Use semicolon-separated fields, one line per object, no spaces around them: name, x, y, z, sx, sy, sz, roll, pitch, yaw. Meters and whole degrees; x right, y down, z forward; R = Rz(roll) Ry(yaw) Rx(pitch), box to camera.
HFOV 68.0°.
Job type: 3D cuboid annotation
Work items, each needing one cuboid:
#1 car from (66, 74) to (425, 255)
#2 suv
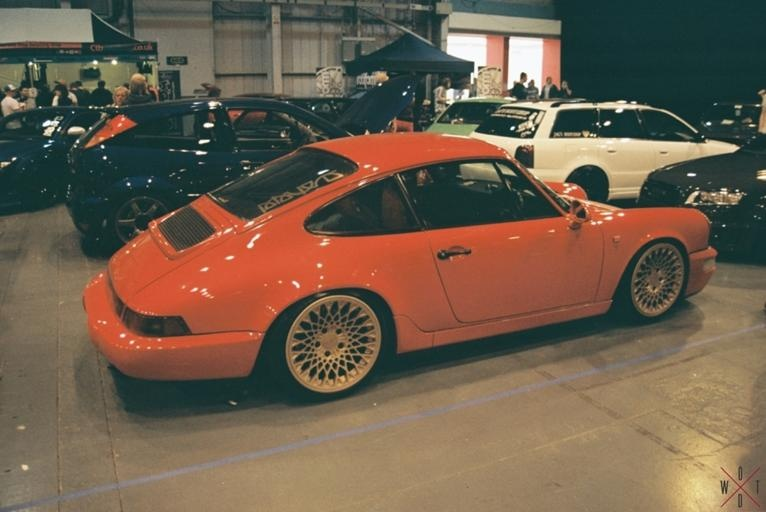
car;-2.387;-1.532;8.342;4.687;2.287;2.173;-5;12;-14
suv;4.052;-2.054;10.394;4.490;1.464;1.987;-6;14;-19
